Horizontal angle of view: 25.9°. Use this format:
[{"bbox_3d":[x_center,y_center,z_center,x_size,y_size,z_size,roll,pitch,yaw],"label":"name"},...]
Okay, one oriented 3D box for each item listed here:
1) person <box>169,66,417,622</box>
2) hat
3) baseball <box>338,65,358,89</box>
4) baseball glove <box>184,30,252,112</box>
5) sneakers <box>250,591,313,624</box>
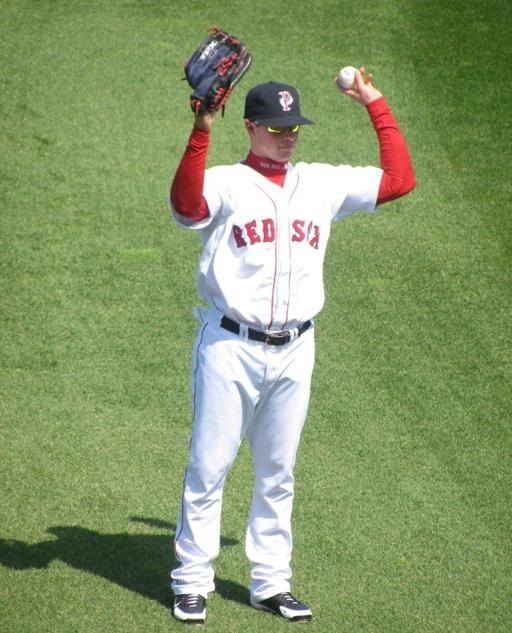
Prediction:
[{"bbox_3d":[-0.019,0.190,5.494,1.010,2.459,1.087,11,23,2],"label":"person"},{"bbox_3d":[0.106,-1.013,5.363,0.202,0.176,0.305,-9,22,-31],"label":"hat"},{"bbox_3d":[0.479,-1.238,5.712,0.078,0.110,0.112,4,37,6],"label":"baseball"},{"bbox_3d":[-0.182,-1.213,5.227,0.154,0.359,0.416,35,15,-1],"label":"baseball glove"},{"bbox_3d":[0.147,1.441,5.613,0.335,0.167,0.129,7,7,25],"label":"sneakers"}]
